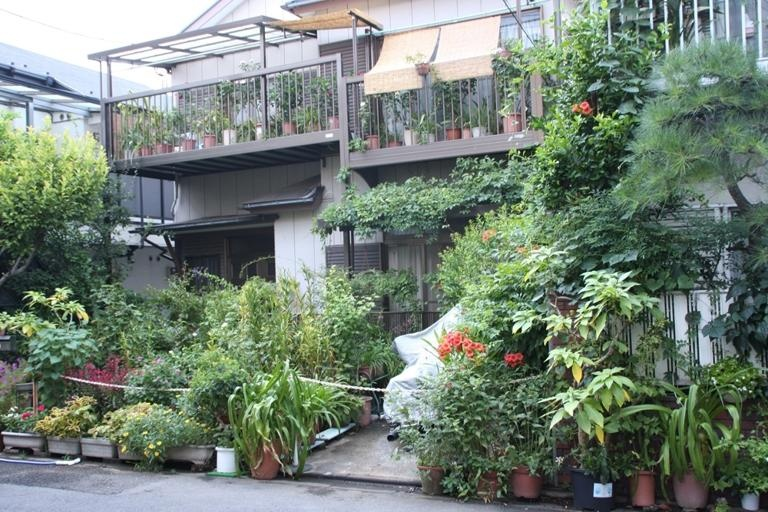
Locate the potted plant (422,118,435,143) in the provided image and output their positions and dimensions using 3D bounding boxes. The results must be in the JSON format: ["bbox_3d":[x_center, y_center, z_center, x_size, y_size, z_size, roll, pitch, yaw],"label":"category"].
[{"bbox_3d":[0.770,-2.209,15.639,0.209,0.438,0.085,0,-6,1],"label":"potted plant"}]

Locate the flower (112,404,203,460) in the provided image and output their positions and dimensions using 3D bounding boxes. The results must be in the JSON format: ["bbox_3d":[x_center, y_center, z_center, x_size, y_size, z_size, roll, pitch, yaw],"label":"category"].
[{"bbox_3d":[-3.140,2.348,12.350,0.826,0.482,0.778,-4,10,-35],"label":"flower"}]

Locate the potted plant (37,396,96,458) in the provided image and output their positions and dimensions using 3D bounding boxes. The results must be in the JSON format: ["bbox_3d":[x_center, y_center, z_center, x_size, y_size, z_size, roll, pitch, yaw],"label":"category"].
[{"bbox_3d":[-4.458,2.325,13.126,0.844,0.831,0.757,1,1,14],"label":"potted plant"}]

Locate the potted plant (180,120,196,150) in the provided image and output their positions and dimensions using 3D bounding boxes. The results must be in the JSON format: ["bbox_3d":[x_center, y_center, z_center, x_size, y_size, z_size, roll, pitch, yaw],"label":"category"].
[{"bbox_3d":[-3.808,-2.361,17.628,0.300,0.567,0.320,1,-7,-14],"label":"potted plant"}]

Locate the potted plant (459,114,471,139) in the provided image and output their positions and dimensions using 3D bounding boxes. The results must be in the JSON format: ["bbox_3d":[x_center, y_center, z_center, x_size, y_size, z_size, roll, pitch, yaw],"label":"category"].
[{"bbox_3d":[1.395,-2.252,15.420,0.225,0.422,0.102,-5,-8,39],"label":"potted plant"}]

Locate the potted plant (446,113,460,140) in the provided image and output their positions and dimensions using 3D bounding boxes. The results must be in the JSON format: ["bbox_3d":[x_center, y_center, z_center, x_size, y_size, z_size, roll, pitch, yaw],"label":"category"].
[{"bbox_3d":[1.191,-2.245,15.488,0.269,0.453,0.131,-1,-6,3],"label":"potted plant"}]

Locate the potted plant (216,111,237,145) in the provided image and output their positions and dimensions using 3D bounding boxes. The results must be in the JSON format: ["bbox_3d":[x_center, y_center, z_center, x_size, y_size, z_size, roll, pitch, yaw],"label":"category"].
[{"bbox_3d":[-2.985,-2.462,17.208,0.368,0.634,0.149,-2,-6,15],"label":"potted plant"}]

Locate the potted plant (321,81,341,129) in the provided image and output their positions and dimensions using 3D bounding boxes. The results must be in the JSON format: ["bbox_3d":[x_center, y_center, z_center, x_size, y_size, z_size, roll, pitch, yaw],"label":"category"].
[{"bbox_3d":[-1.006,-2.762,16.483,0.327,0.965,0.493,0,-6,-5],"label":"potted plant"}]

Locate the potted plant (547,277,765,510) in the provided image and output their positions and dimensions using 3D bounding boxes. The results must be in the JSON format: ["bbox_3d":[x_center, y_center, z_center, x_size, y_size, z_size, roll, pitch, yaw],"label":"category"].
[{"bbox_3d":[3.349,1.680,11.924,2.335,3.092,2.767,-2,-2,-13],"label":"potted plant"}]

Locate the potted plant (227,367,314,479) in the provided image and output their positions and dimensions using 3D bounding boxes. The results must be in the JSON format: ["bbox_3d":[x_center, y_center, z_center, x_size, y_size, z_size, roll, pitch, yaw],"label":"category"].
[{"bbox_3d":[-1.504,2.275,12.678,1.279,1.821,1.314,3,-7,-5],"label":"potted plant"}]

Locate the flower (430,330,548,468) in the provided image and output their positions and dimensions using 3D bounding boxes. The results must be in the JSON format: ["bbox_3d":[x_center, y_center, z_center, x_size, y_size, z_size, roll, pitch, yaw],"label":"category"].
[{"bbox_3d":[1.360,1.773,11.443,1.419,1.693,0.576,-1,-6,6],"label":"flower"}]

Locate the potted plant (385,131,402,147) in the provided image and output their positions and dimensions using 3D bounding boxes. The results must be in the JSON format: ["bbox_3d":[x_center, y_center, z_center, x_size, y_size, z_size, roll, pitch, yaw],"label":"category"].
[{"bbox_3d":[0.176,-2.065,15.914,0.262,0.195,0.265,3,-9,-26],"label":"potted plant"}]

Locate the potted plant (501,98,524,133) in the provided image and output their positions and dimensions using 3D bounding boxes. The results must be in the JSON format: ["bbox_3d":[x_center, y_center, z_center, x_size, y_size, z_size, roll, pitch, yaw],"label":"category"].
[{"bbox_3d":[2.114,-2.385,14.887,0.394,0.664,0.742,-1,-7,8],"label":"potted plant"}]

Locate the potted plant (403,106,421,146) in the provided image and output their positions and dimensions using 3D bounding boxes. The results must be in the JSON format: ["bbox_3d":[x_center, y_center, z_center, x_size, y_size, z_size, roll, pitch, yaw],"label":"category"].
[{"bbox_3d":[0.465,-2.166,15.769,0.168,0.484,0.271,4,-7,-33],"label":"potted plant"}]

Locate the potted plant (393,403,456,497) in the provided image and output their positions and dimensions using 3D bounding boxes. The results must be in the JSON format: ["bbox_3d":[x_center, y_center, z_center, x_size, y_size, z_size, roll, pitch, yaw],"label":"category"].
[{"bbox_3d":[0.569,2.508,11.532,0.637,0.968,0.553,-5,1,32],"label":"potted plant"}]

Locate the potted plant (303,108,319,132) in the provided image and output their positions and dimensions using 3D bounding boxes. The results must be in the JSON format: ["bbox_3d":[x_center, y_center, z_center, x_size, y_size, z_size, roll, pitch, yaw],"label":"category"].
[{"bbox_3d":[-1.314,-2.501,16.521,0.367,0.503,0.386,-3,7,-9],"label":"potted plant"}]

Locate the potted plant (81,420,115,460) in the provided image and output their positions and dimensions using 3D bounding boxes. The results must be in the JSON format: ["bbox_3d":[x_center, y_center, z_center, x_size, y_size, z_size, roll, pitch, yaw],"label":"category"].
[{"bbox_3d":[-3.990,2.623,12.633,0.575,0.343,0.164,-4,-7,27],"label":"potted plant"}]

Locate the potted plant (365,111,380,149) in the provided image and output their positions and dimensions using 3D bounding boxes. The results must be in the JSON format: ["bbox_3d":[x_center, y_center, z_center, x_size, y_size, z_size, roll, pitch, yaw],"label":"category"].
[{"bbox_3d":[-0.180,-2.230,15.966,0.210,0.638,0.144,-1,-6,9],"label":"potted plant"}]

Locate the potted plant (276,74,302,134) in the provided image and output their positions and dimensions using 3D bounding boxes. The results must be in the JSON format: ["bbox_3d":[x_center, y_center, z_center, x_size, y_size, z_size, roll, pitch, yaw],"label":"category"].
[{"bbox_3d":[-1.707,-2.832,16.579,0.452,1.171,0.645,1,-6,-10],"label":"potted plant"}]

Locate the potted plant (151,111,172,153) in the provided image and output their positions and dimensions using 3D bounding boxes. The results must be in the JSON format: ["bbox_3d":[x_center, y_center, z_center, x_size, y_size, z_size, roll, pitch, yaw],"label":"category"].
[{"bbox_3d":[-4.354,-2.445,17.777,0.358,0.774,0.191,-2,-6,14],"label":"potted plant"}]
